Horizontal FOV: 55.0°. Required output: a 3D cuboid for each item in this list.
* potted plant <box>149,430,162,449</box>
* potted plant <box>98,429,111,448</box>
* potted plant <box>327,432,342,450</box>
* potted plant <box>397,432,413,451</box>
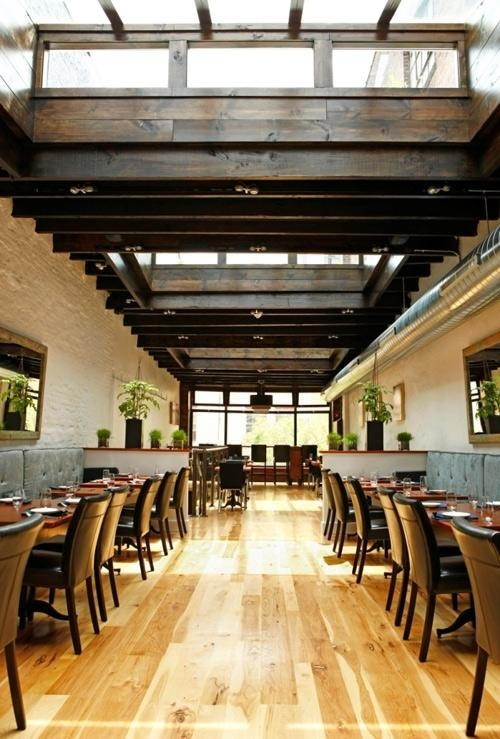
[{"bbox_3d":[-1.611,1.204,8.267,0.251,0.351,0.253,0,-13,2],"label":"potted plant"},{"bbox_3d":[-2.349,1.067,7.570,0.255,0.340,0.237,4,-6,-33],"label":"potted plant"},{"bbox_3d":[1.723,1.418,9.476,0.237,0.356,0.986,-1,-12,8],"label":"potted plant"},{"bbox_3d":[2.366,1.086,7.245,0.236,0.336,0.243,1,-9,-6],"label":"potted plant"}]
